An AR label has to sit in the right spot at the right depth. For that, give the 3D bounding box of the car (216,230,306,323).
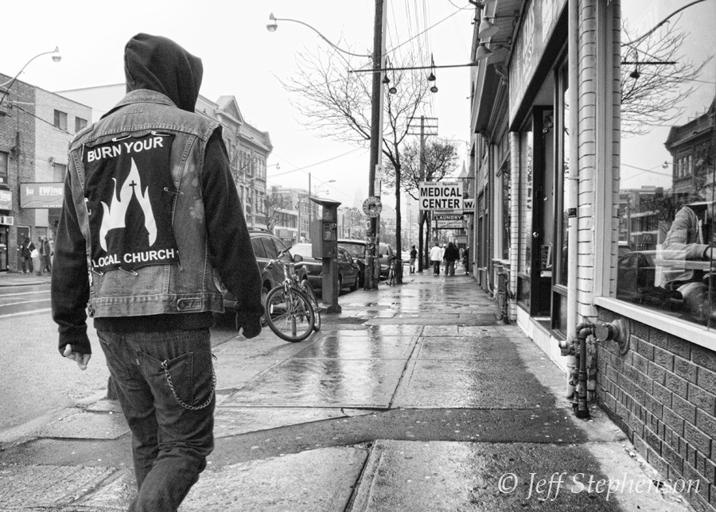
[{"bbox_3d":[-1.826,0.406,11.204,1.233,1.458,3.005,-2,7,18],"label":"car"}]

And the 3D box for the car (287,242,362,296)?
[{"bbox_3d":[-1.073,0.444,17.211,1.010,0.933,2.604,-1,2,14],"label":"car"}]

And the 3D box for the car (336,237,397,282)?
[{"bbox_3d":[0.598,0.130,23.197,1.201,1.051,2.863,0,2,14],"label":"car"}]
